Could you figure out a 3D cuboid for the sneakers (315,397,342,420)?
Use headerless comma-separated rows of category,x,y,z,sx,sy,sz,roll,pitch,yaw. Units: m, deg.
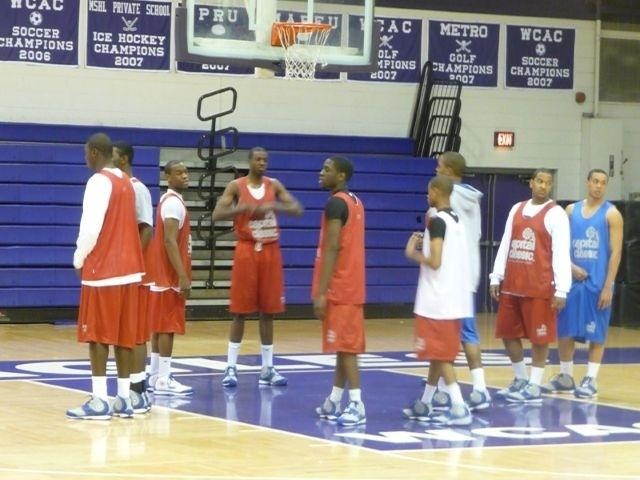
sneakers,0.072,1.221,5.597,0.087,0.134,0.236,3,2,-19

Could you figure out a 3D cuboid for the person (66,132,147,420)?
person,-1.488,0.261,5.429,0.544,1.991,0.398,-2,7,-25

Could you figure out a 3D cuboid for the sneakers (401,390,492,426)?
sneakers,0.894,1.217,5.640,0.578,0.254,0.199,6,0,42

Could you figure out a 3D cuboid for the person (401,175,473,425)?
person,0.859,0.443,5.469,0.489,1.769,0.440,3,7,12

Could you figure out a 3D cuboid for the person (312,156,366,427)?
person,0.160,0.372,5.495,0.412,1.904,0.518,1,6,0

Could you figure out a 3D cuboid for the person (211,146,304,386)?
person,-0.547,0.244,6.726,0.717,2.074,0.521,1,6,-4

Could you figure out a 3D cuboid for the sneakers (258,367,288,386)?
sneakers,-0.411,1.197,6.836,0.115,0.146,0.293,1,-3,-36

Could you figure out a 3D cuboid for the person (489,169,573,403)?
person,1.734,0.381,6.445,0.649,1.923,0.556,3,7,18

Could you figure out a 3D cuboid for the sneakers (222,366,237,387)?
sneakers,-0.766,1.169,6.657,0.123,0.158,0.194,1,6,-8
